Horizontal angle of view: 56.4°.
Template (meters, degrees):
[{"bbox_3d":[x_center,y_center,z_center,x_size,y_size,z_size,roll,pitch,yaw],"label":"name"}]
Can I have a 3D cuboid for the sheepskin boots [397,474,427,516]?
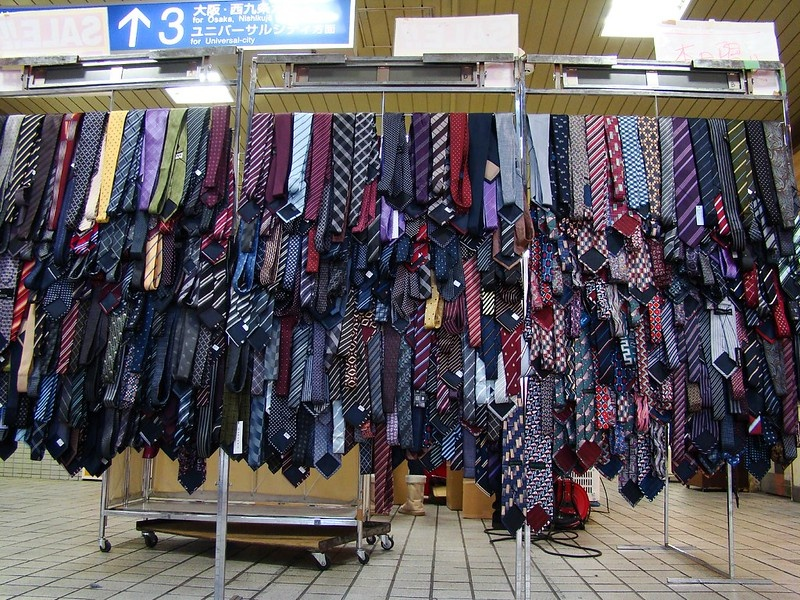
[{"bbox_3d":[0.130,1.988,7.612,0.216,0.409,0.503,2,-10,-19],"label":"sheepskin boots"}]

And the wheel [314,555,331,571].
[{"bbox_3d":[-0.559,1.905,5.387,0.092,0.105,0.039,10,1,0],"label":"wheel"}]
